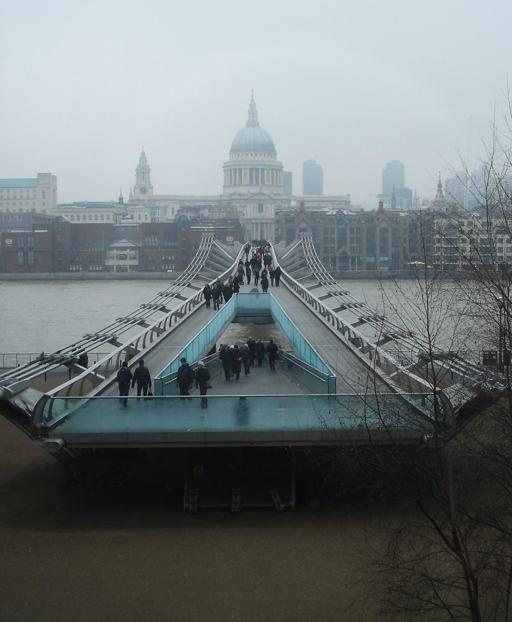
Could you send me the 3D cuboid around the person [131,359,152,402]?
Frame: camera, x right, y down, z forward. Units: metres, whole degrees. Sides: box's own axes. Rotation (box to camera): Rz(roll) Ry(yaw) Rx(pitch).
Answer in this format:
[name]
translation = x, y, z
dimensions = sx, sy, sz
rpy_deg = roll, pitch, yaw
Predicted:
[person]
translation = -1.865, 1.153, 12.239
dimensions = 0.315, 0.774, 0.157
rpy_deg = -1, 20, -16
